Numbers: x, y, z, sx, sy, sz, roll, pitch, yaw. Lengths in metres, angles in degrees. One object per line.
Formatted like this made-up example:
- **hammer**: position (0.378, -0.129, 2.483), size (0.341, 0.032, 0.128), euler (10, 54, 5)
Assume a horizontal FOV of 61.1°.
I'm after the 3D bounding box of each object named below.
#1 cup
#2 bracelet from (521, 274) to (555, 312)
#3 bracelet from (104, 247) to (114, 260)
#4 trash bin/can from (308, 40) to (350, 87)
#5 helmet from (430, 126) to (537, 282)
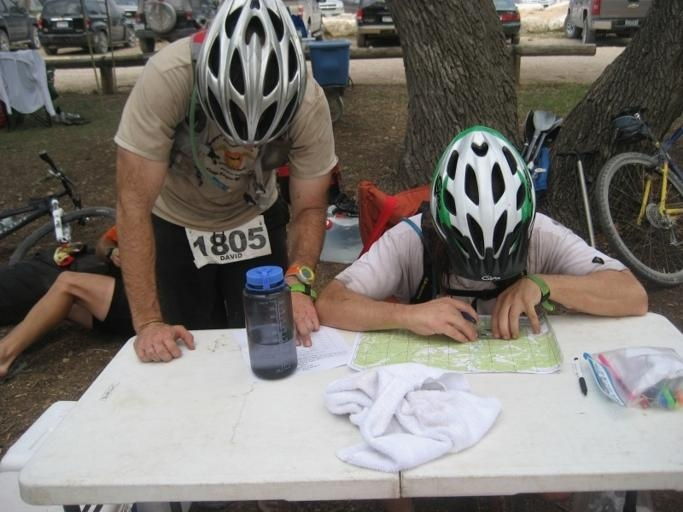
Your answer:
- **cup**: position (-0.235, 0.210, 2.036), size (0.200, 0.356, 0.211), euler (-2, 23, 1)
- **bracelet**: position (0.786, 0.145, 2.285), size (0.076, 0.104, 0.134), euler (-9, 30, -11)
- **bracelet**: position (-1.486, -0.009, 3.726), size (0.055, 0.079, 0.074), euler (6, -4, -7)
- **trash bin/can**: position (-0.139, -2.930, 8.697), size (0.752, 0.720, 0.873), euler (-1, 27, 2)
- **helmet**: position (0.548, -0.198, 2.206), size (0.386, 0.602, 0.207), euler (-2, -13, 16)
